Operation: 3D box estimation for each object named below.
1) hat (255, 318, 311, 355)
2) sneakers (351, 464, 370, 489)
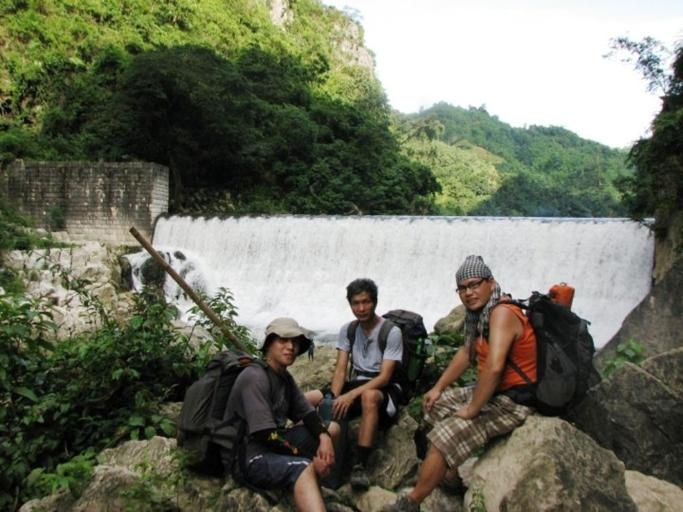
[{"bbox_3d":[-0.543,0.680,4.874,0.409,0.251,0.493,5,-19,-24],"label":"hat"},{"bbox_3d":[0.170,2.060,5.013,0.177,0.195,0.217,3,7,1],"label":"sneakers"}]
